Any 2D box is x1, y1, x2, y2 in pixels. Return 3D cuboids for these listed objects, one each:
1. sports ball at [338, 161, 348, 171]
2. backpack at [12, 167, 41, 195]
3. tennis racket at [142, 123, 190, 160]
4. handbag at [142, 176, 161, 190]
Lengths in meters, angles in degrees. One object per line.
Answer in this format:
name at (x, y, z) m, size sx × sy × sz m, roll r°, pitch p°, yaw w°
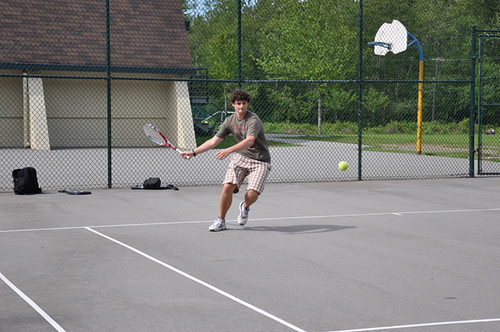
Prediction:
sports ball at (2.175, -0.004, 11.876) m, size 0.184 × 0.188 × 0.217 m, roll -8°, pitch 27°, yaw -17°
backpack at (-5.083, 0.230, 11.500) m, size 0.511 × 0.503 × 0.454 m, roll 8°, pitch 13°, yaw 10°
tennis racket at (-3.478, -1.054, 21.482) m, size 2.432 × 0.133 × 0.696 m, roll 40°, pitch 49°, yaw 14°
handbag at (-2.389, 0.424, 12.343) m, size 0.442 × 0.267 × 0.284 m, roll -1°, pitch 6°, yaw -15°
